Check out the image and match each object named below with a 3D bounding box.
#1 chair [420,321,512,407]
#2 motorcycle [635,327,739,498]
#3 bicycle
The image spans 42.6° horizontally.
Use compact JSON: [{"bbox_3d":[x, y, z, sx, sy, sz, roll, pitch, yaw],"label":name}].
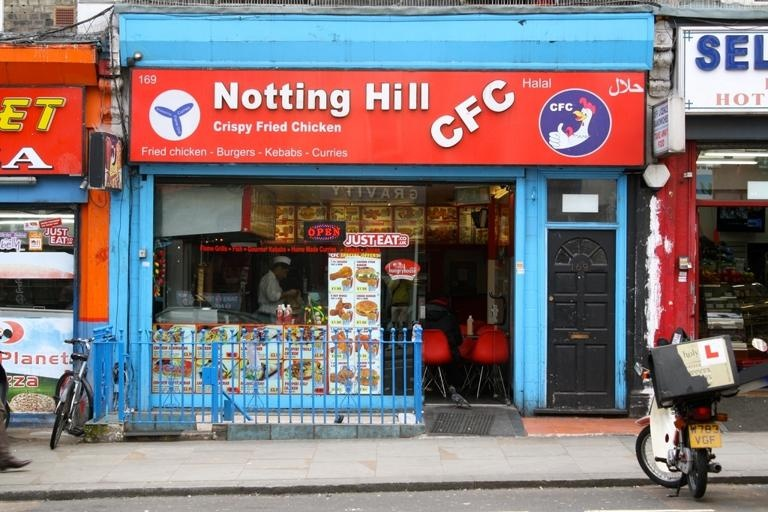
[{"bbox_3d":[1.434,1.962,17.970,1.386,1.779,1.340,1,9,3],"label":"chair"},{"bbox_3d":[4.313,2.246,13.956,1.445,2.389,0.789,-3,-6,24],"label":"motorcycle"},{"bbox_3d":[-5.113,2.244,16.136,0.650,1.760,1.131,0,-5,-10],"label":"bicycle"}]
